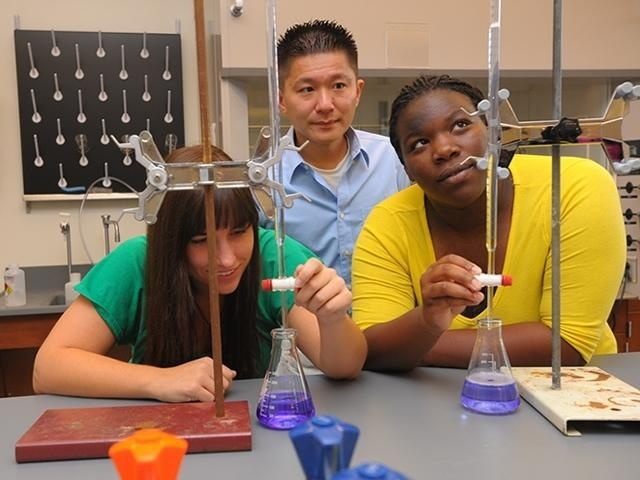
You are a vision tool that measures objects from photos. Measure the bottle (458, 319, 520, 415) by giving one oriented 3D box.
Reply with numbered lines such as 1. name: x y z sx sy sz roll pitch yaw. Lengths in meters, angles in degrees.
1. bottle: 0.429 0.329 1.486 0.149 0.236 0.158 -2 -11 0

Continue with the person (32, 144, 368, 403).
1. person: -0.365 0.129 1.799 0.908 0.803 0.709 -1 -8 -21

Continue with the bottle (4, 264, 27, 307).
1. bottle: -1.740 0.258 3.302 0.119 0.213 0.382 -8 11 -27

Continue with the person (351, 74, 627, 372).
1. person: 0.516 -0.050 1.730 0.834 0.909 0.489 -5 10 -6
